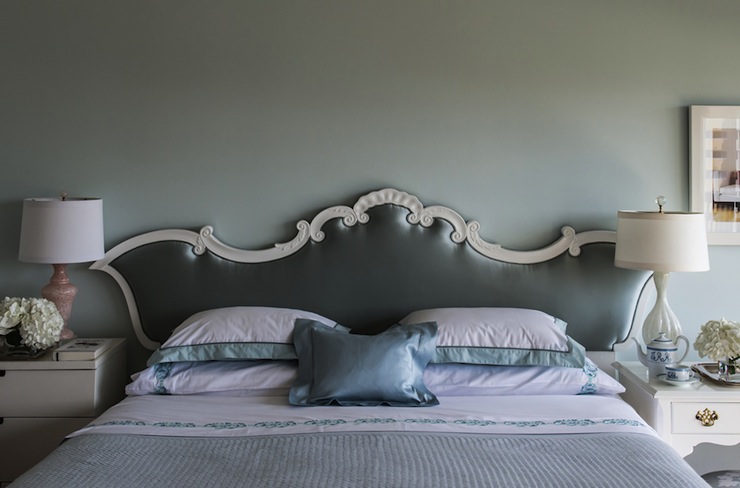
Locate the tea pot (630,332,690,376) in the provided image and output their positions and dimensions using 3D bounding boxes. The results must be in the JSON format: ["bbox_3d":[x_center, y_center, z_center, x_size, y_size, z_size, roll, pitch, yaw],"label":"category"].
[{"bbox_3d":[1.816,0.652,3.504,0.402,0.270,0.229,1,-1,16],"label":"tea pot"}]

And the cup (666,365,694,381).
[{"bbox_3d":[1.804,0.742,3.343,0.113,0.053,0.086,-1,-4,24],"label":"cup"}]
